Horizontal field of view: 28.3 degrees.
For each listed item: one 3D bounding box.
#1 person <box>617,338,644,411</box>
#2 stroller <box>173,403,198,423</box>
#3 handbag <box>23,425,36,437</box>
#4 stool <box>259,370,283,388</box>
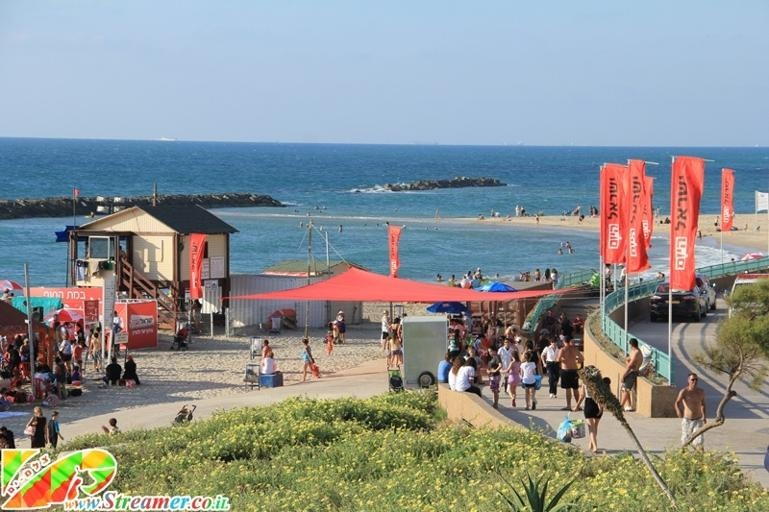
[{"bbox_3d":[7.846,3.764,48.697,0.909,2.396,0.891,2,-8,0],"label":"person"},{"bbox_3d":[-6.489,5.055,49.721,0.519,0.545,0.632,13,-2,12],"label":"stroller"},{"bbox_3d":[-11.013,5.340,47.388,0.177,0.348,0.515,-5,4,-30],"label":"handbag"},{"bbox_3d":[-3.963,4.289,54.607,0.628,0.368,0.618,1,3,23],"label":"stool"}]
